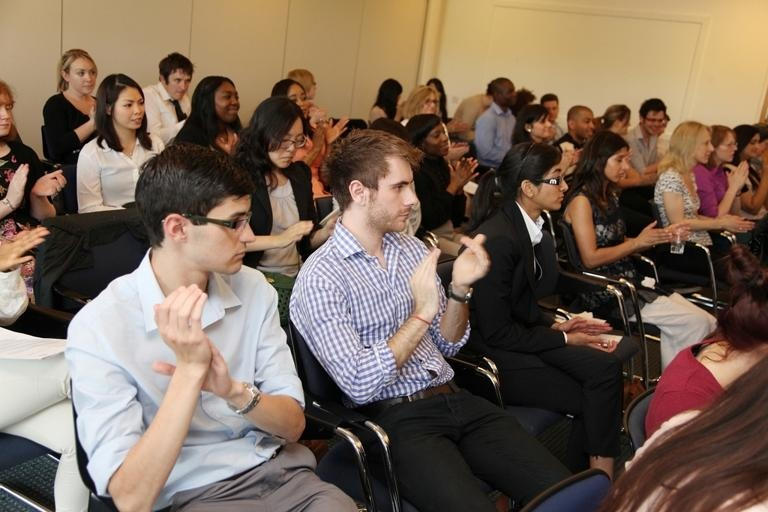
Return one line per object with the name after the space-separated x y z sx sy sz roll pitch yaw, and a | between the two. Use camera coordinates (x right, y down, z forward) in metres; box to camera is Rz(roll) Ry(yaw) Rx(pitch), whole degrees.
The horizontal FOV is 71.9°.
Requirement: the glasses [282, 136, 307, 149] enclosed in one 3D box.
-0.519 -0.668 3.109 0.086 0.066 0.210 7 17 8 | glasses

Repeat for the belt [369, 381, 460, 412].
0.144 0.582 2.122 0.394 0.096 0.122 -3 19 -23 | belt

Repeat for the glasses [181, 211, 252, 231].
-0.534 -0.108 1.682 0.205 0.051 0.058 -3 19 -23 | glasses
